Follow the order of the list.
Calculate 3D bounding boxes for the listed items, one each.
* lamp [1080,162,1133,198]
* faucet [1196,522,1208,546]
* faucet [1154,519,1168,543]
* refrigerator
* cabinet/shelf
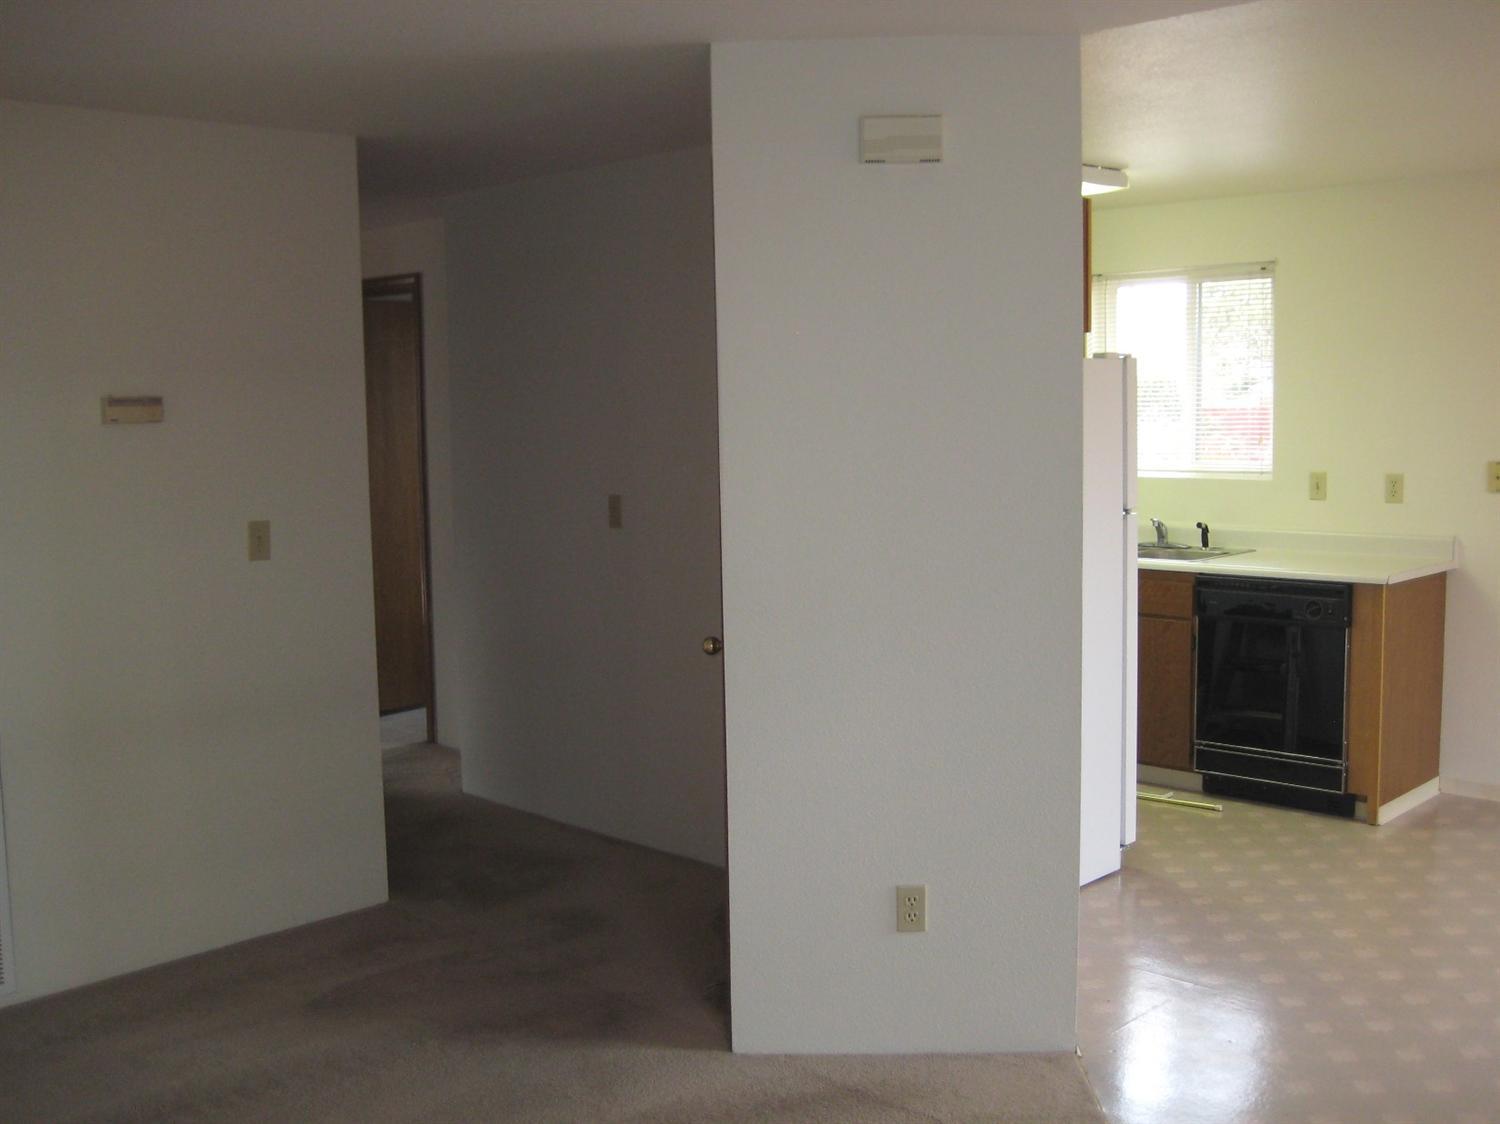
[{"bbox_3d":[1.598,-1.718,5.493,0.188,0.140,0.518,3,12,17],"label":"lamp"},{"bbox_3d":[2.369,-0.139,6.383,0.062,0.127,0.194,4,12,23],"label":"faucet"},{"bbox_3d":[2.174,-0.160,6.471,0.029,0.106,0.103,-7,9,25],"label":"faucet"},{"bbox_3d":[1.415,0.231,4.837,0.236,2.049,0.452,3,11,21],"label":"refrigerator"},{"bbox_3d":[2.505,0.587,5.718,0.533,1.049,0.863,-3,4,-36],"label":"cabinet/shelf"}]
